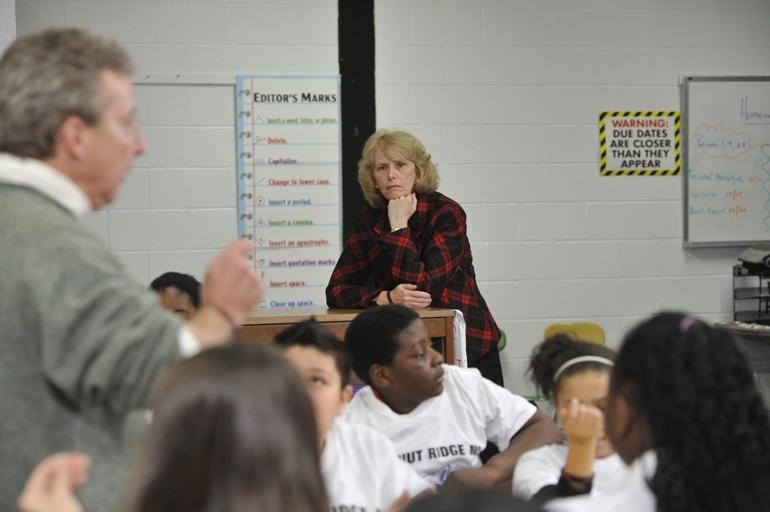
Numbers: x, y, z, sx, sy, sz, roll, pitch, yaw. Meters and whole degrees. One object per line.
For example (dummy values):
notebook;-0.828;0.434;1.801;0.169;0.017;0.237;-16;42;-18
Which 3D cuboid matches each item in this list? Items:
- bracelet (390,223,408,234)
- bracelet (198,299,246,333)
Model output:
bracelet;0.054;-0.106;3.471;0.039;0.030;0.039;3;-9;-28
bracelet;-0.392;0.154;2.187;0.050;0.066;0.067;-39;-20;-16
